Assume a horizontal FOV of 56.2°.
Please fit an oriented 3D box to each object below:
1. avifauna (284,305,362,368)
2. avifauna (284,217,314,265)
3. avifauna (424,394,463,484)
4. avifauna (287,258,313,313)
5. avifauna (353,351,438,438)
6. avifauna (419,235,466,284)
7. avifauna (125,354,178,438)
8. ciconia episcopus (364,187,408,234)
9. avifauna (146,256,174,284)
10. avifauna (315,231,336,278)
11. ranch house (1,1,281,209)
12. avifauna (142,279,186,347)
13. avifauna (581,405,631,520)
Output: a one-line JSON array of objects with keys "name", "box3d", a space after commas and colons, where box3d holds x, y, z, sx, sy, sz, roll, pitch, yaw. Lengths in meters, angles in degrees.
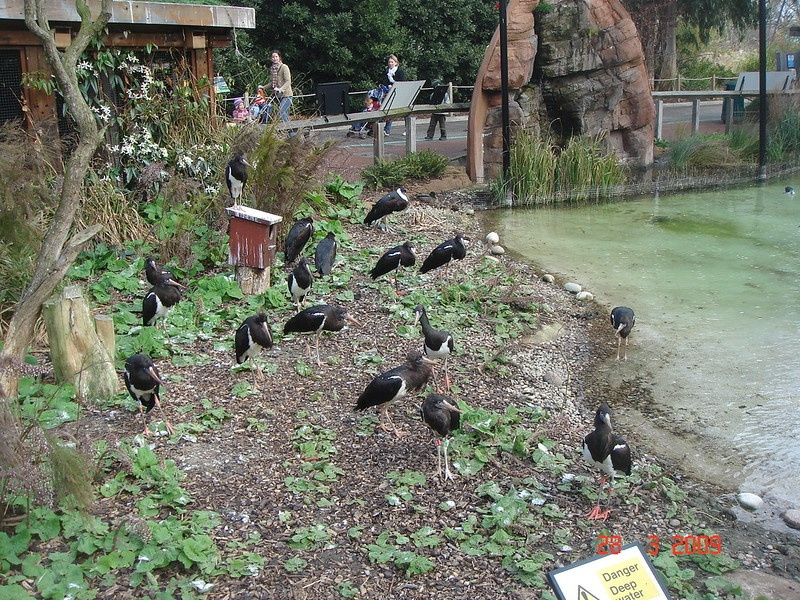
[{"name": "avifauna", "box3d": [-0.903, 0.396, 8.395, 0.942, 0.782, 0.366, 10, 22, 16]}, {"name": "avifauna", "box3d": [-1.418, -0.772, 10.363, 0.392, 0.642, 0.456, 2, 15, 16]}, {"name": "avifauna", "box3d": [0.414, 1.245, 7.121, 0.342, 0.788, 0.438, 5, 16, 26]}, {"name": "avifauna", "box3d": [-1.235, -0.172, 9.171, 0.275, 0.721, 0.538, -4, 15, -8]}, {"name": "avifauna", "box3d": [-0.077, 0.910, 7.516, 0.842, 0.824, 0.484, 2, 19, 0]}, {"name": "avifauna", "box3d": [0.617, -0.633, 10.610, 0.553, 0.682, 0.291, 7, 15, 3]}, {"name": "avifauna", "box3d": [-2.402, 0.738, 7.078, 0.322, 0.692, 0.960, -11, 45, -26]}, {"name": "ciconia episcopus", "box3d": [-0.259, -1.477, 12.450, 0.704, 0.700, 0.828, -3, 15, -3]}, {"name": "avifauna", "box3d": [-3.003, -0.354, 9.314, 0.160, 0.281, 0.420, -16, 28, -13]}, {"name": "avifauna", "box3d": [-0.985, -0.625, 10.184, 0.214, 0.407, 0.618, -5, 33, 18]}, {"name": "ranch house", "box3d": [-4.663, -3.709, 11.983, 3.444, 1.724, 2.275, -19, 38, -34]}, {"name": "avifauna", "box3d": [-2.698, 0.032, 8.451, 0.524, 0.711, 0.372, 11, 18, 19]}, {"name": "avifauna", "box3d": [1.900, 1.450, 6.875, 0.416, 0.955, 0.650, 1, 15, 14]}]
